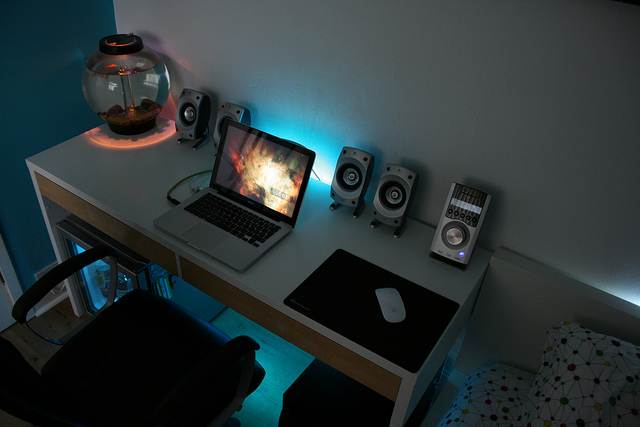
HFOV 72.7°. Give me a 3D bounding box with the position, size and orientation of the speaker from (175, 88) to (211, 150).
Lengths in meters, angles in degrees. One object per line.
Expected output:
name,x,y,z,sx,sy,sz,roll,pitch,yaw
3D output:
speaker,-0.700,-0.512,2.379,0.186,0.185,0.337,25,-52,26

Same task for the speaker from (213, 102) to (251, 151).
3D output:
speaker,-0.443,-0.441,2.204,0.162,0.137,0.254,31,-52,24

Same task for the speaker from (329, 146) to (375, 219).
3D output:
speaker,0.146,-0.160,2.069,0.171,0.164,0.290,22,-53,30

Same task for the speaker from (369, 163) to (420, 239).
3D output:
speaker,0.336,-0.060,1.999,0.168,0.173,0.284,27,-45,35

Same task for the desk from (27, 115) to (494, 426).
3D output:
desk,-0.298,0.893,2.898,2.800,1.077,1.675,27,-38,22

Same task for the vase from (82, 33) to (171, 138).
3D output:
vase,-1.112,-0.738,2.480,0.471,0.464,0.511,-6,-55,-15

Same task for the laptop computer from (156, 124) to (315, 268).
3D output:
laptop computer,-0.392,-0.109,1.953,0.593,0.606,0.340,19,-50,16
